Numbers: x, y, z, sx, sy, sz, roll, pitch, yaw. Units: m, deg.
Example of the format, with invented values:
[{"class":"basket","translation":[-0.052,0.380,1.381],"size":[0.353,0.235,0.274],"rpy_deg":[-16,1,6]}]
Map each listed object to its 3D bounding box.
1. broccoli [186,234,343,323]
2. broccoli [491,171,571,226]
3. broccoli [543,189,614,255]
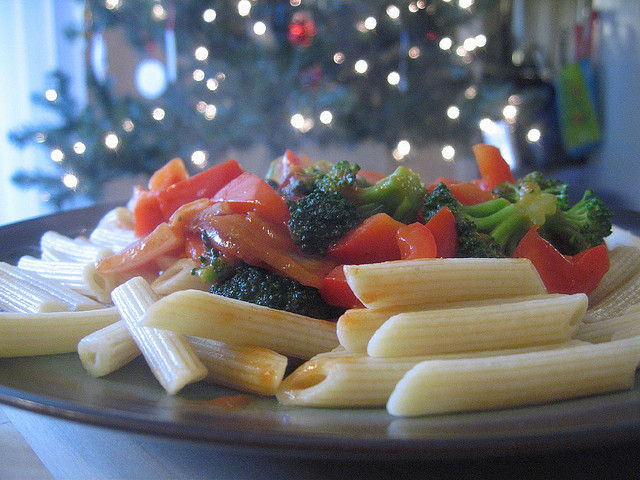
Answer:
[{"class":"broccoli","translation":[-0.245,0.126,2.924],"size":[0.604,0.126,0.370],"rpy_deg":[28,-9,-1]},{"class":"broccoli","translation":[1.165,-0.238,3.265],"size":[0.336,0.139,0.341],"rpy_deg":[-13,21,-4]},{"class":"broccoli","translation":[1.373,-0.099,3.363],"size":[0.363,0.342,0.265],"rpy_deg":[10,38,5]}]
